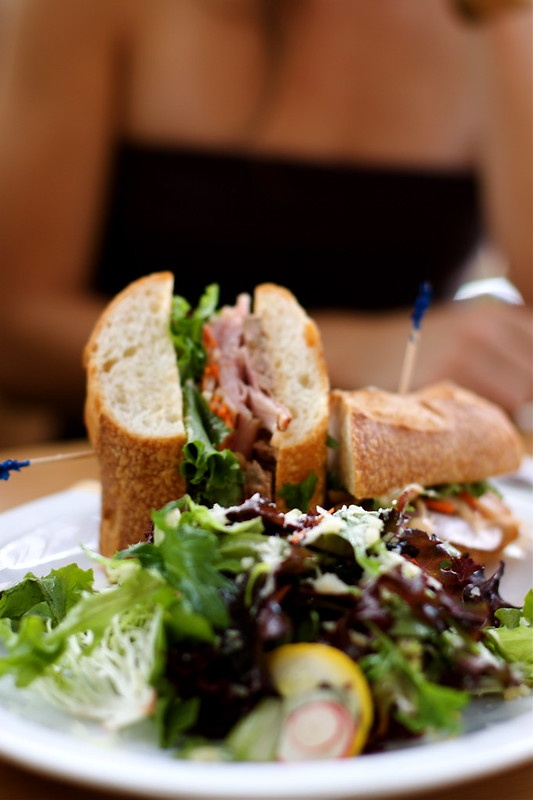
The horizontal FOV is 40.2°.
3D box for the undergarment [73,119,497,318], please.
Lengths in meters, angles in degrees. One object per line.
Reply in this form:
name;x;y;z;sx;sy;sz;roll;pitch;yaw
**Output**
undergarment;0.007;-0.894;3.559;1.444;0.761;0.221;3;8;-7
